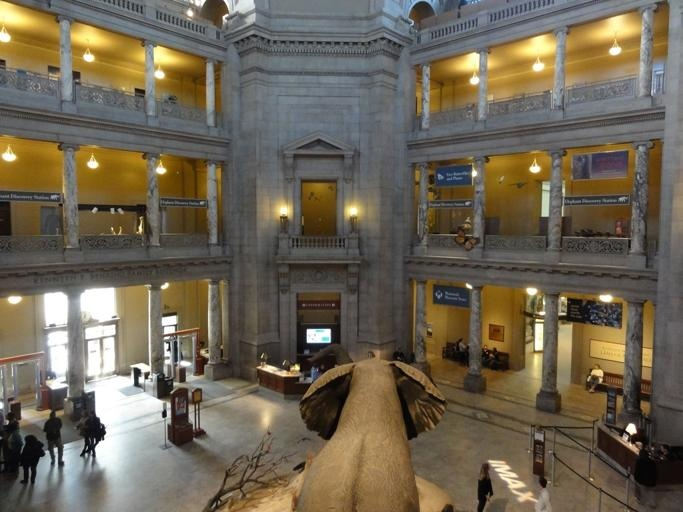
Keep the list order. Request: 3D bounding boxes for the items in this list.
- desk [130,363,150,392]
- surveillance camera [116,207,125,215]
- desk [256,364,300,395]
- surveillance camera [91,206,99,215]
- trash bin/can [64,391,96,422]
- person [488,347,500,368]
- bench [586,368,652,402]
[{"bbox_3d":[-9.093,5.508,24.468,0.937,1.050,1.021,-5,9,-41],"label":"desk"},{"bbox_3d":[-10.853,-2.227,26.046,0.101,0.353,0.300,3,9,27],"label":"surveillance camera"},{"bbox_3d":[-2.714,5.503,23.326,2.154,0.951,0.635,8,14,32],"label":"desk"},{"bbox_3d":[-11.605,-2.146,24.985,0.272,0.293,0.350,3,-4,4],"label":"surveillance camera"},{"bbox_3d":[-10.250,5.915,20.829,1.137,1.367,0.944,3,-1,21],"label":"trash bin/can"},{"bbox_3d":[7.782,5.280,27.163,0.623,0.830,0.653,3,12,13],"label":"person"},{"bbox_3d":[12.220,5.655,23.679,2.612,1.128,0.833,9,15,36],"label":"bench"}]
